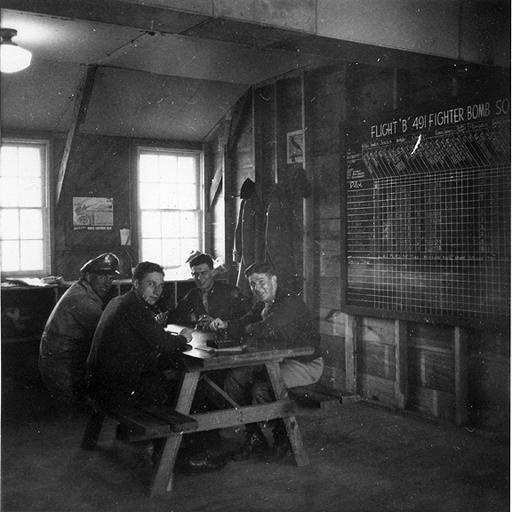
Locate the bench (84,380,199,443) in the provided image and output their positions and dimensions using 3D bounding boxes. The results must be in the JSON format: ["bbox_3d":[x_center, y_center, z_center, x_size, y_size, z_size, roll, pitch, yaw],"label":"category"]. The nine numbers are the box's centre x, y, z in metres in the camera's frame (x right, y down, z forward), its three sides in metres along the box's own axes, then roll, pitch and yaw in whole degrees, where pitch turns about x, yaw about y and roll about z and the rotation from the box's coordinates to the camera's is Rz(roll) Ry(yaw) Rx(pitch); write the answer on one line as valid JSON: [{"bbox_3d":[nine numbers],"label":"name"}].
[{"bbox_3d":[-0.326,0.456,1.465,0.309,0.163,0.093,-2,3,-22],"label":"bench"}]

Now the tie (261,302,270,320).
[{"bbox_3d":[0.030,0.182,1.652,0.028,0.055,0.017,-1,2,0],"label":"tie"}]

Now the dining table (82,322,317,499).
[{"bbox_3d":[-0.169,0.606,1.851,0.546,0.415,0.670,0,-19,-23],"label":"dining table"}]

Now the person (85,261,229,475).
[{"bbox_3d":[-0.405,0.299,1.850,0.552,0.991,0.380,-6,8,-32],"label":"person"}]
